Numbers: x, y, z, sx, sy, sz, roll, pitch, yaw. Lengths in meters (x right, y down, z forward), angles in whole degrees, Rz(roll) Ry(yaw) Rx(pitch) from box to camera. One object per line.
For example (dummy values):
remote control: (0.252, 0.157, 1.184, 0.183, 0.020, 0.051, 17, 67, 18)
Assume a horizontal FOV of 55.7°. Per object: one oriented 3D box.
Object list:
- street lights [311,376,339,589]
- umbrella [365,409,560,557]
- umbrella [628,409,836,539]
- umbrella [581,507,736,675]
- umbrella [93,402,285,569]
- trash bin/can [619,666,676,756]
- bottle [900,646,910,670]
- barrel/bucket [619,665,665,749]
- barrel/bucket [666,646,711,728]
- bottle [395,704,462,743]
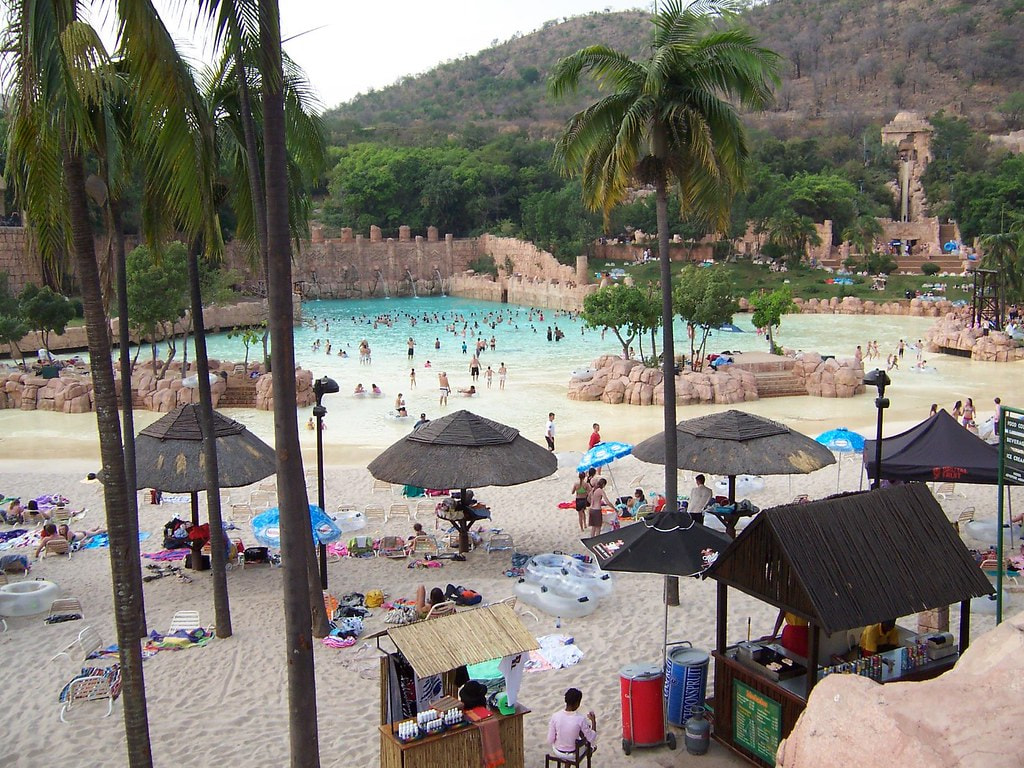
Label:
street lights: (-3.188, 1.576, 16.786, 0.556, 3.564, 0.392, -10, 23, -27)
umbrella: (-0.961, 1.593, 18.017, 2.425, 2.445, 2.848, -2, 6, -36)
umbrella: (4.176, 1.484, 18.453, 2.753, 2.537, 3.290, -7, 6, -28)
umbrella: (2.065, 2.983, 13.680, 1.527, 2.085, 1.667, -2, 6, -19)
umbrella: (-5.750, 1.819, 17.868, 2.140, 2.128, 2.293, 6, 17, 21)
trash bin/can: (1.687, 4.117, 12.430, 0.648, 0.998, 0.777, -5, 7, -9)
bottle: (4.751, 3.320, 11.714, 0.133, 0.238, 0.064, -6, 7, -32)
barrel/bucket: (1.700, 4.102, 12.391, 0.795, 0.932, 0.834, -3, 5, 0)
barrel/bucket: (2.270, 3.962, 12.752, 0.485, 0.929, 0.518, 1, 14, 0)
bottle: (-0.901, 3.755, 10.780, 0.789, 0.245, 0.243, -5, 6, -19)
